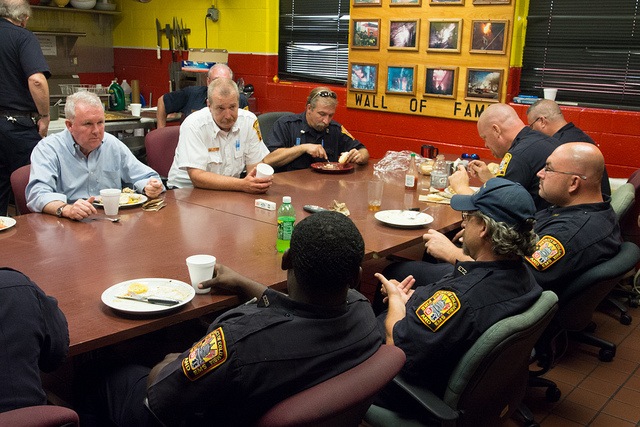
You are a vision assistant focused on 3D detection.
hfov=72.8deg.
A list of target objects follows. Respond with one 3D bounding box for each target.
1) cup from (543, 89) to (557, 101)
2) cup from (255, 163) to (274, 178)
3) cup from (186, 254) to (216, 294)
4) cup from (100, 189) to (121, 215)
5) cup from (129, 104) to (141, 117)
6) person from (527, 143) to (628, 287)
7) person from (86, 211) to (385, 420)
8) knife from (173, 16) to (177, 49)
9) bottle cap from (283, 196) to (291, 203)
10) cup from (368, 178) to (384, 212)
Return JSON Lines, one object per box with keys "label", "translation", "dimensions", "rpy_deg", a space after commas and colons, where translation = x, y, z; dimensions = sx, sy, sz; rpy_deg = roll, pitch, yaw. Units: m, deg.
{"label": "cup", "translation": [2.172, -1.127, 4.155], "dimensions": [0.142, 0.110, 0.143], "rpy_deg": [0, 7, 0]}
{"label": "cup", "translation": [-0.393, -0.321, 3.070], "dimensions": [0.099, 0.074, 0.100], "rpy_deg": [8, 32, -5]}
{"label": "cup", "translation": [-0.504, 0.252, 1.841], "dimensions": [0.145, 0.155, 0.141], "rpy_deg": [-1, 3, 0]}
{"label": "cup", "translation": [-1.238, -0.074, 2.641], "dimensions": [0.137, 0.142, 0.136], "rpy_deg": [-1, 16, 0]}
{"label": "cup", "translation": [-2.300, -1.307, 5.471], "dimensions": [0.154, 0.154, 0.131], "rpy_deg": [3, 8, 3]}
{"label": "person", "translation": [1.416, 0.016, 2.433], "dimensions": [0.593, 0.660, 0.821], "rpy_deg": [3, 22, 31]}
{"label": "person", "translation": [-0.152, 0.325, 1.348], "dimensions": [0.749, 0.636, 0.254], "rpy_deg": [-6, 20, -28]}
{"label": "knife", "translation": [-2.156, -2.680, 6.426], "dimensions": [0.055, 0.384, 0.033], "rpy_deg": [7, 16, 29]}
{"label": "bottle cap", "translation": [-0.175, -0.074, 2.284], "dimensions": [0.035, 0.018, 0.035], "rpy_deg": [-1, 14, -7]}
{"label": "cup", "translation": [0.359, -0.123, 2.880], "dimensions": [0.098, 0.195, 0.166], "rpy_deg": [5, 18, 6]}
